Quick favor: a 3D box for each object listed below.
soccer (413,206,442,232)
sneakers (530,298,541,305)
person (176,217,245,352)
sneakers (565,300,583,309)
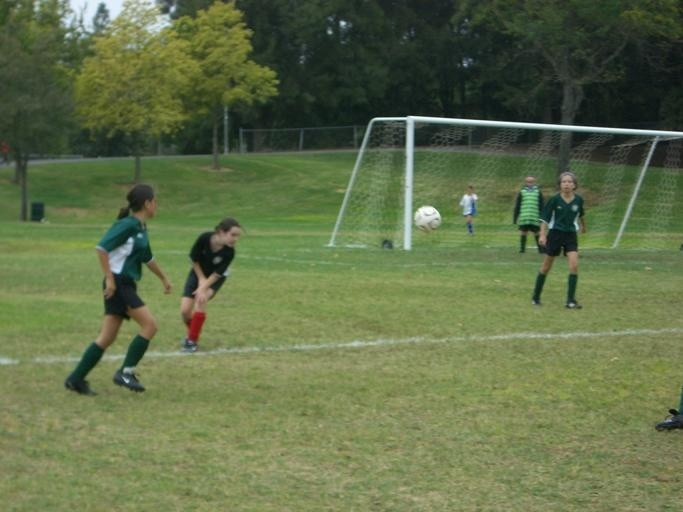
[{"bbox_3d":[2.594,-1.154,34.873,0.848,0.761,0.769,34,7,-4],"label":"soccer"},{"bbox_3d":[4.801,1.126,28.249,0.195,0.166,0.172,-1,1,-16],"label":"sneakers"},{"bbox_3d":[-2.974,0.629,25.371,1.248,2.989,0.621,7,5,12],"label":"person"},{"bbox_3d":[5.700,1.190,27.931,0.161,0.136,0.391,0,-1,-36],"label":"sneakers"}]
